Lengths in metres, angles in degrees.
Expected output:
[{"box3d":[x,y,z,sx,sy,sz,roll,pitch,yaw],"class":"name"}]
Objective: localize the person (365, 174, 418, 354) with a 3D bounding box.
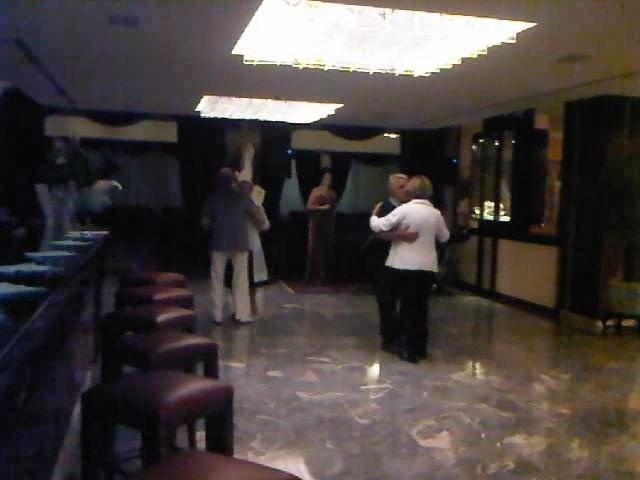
[{"box3d":[0.537,0.172,4.128,0.320,1.310,0.086,1,7,8],"class":"person"}]
